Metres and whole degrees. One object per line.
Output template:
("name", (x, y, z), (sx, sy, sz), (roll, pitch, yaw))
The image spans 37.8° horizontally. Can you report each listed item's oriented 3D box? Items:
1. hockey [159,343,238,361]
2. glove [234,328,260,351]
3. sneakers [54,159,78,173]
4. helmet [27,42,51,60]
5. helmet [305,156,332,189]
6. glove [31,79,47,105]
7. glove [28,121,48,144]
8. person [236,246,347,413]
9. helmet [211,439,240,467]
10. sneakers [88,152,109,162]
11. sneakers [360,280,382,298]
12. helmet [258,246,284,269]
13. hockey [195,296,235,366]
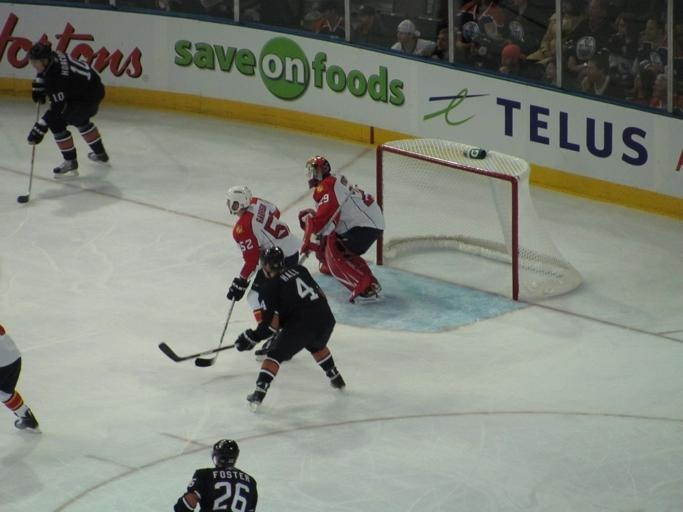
("hockey", (-1.229, 0.789, 8.139), (0.340, 0.074, 0.310), (-11, 6, -22))
("glove", (-0.722, 0.646, 7.781), (0.088, 0.120, 0.216), (-16, -13, -47))
("sneakers", (-3.151, -1.012, 11.477), (0.376, 0.153, 0.118), (-1, 16, 7))
("helmet", (-3.286, -2.219, 10.920), (0.236, 0.169, 0.317), (1, 14, -16))
("helmet", (-0.208, -0.781, 9.424), (0.225, 0.312, 0.474), (5, 14, -2))
("glove", (-3.406, -1.836, 11.244), (0.126, 0.290, 0.225), (3, 17, -9))
("glove", (-3.389, -1.358, 11.146), (0.192, 0.287, 0.285), (1, 15, -17))
("person", (-0.425, 0.634, 8.022), (0.714, 1.102, 0.905), (20, 37, 41))
("helmet", (-0.730, 1.237, 6.359), (0.164, 0.154, 0.172), (1, 10, -31))
("sneakers", (-2.897, -1.170, 11.831), (0.273, 0.103, 0.096), (11, 29, 22))
("sneakers", (0.304, 0.318, 9.296), (0.185, 0.176, 0.135), (34, 6, 4))
("helmet", (-0.524, 0.007, 7.717), (0.183, 0.163, 0.140), (17, 27, 38))
("hockey", (-1.088, 0.670, 8.619), (0.163, 0.131, 0.625), (18, 33, 1))
